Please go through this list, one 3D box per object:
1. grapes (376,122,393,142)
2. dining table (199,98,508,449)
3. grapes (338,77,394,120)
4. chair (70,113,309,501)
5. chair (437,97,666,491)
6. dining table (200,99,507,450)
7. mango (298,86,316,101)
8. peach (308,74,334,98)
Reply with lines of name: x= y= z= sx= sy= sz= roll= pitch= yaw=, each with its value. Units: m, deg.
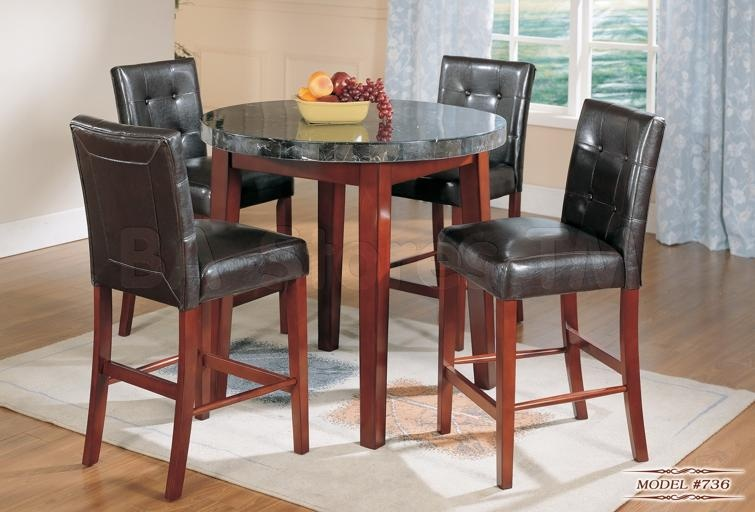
grapes: x=0.027 y=-0.467 z=2.416 sx=0.072 sy=0.034 sz=0.117 roll=1 pitch=27 yaw=5
dining table: x=0.064 y=-0.065 z=2.760 sx=0.893 sy=0.896 sz=0.880 roll=-16 pitch=24 yaw=-14
grapes: x=-0.073 y=-0.647 z=2.642 sx=0.247 sy=0.094 sz=0.144 roll=10 pitch=44 yaw=-2
chair: x=-0.658 y=0.167 z=2.193 sx=0.840 sy=1.221 sz=0.539 roll=-3 pitch=22 yaw=-7
chair: x=0.647 y=0.105 z=2.369 sx=0.826 sy=1.266 sz=0.769 roll=-2 pitch=22 yaw=-5
dining table: x=-0.139 y=-0.037 z=2.722 sx=1.062 sy=1.055 sz=1.014 roll=9 pitch=1 yaw=31
mango: x=-0.300 y=-0.674 z=2.657 sx=0.072 sy=0.062 sz=0.068 roll=-2 pitch=12 yaw=-23
peach: x=-0.231 y=-0.694 z=2.601 sx=0.104 sy=0.103 sz=0.097 roll=-2 pitch=9 yaw=-17
